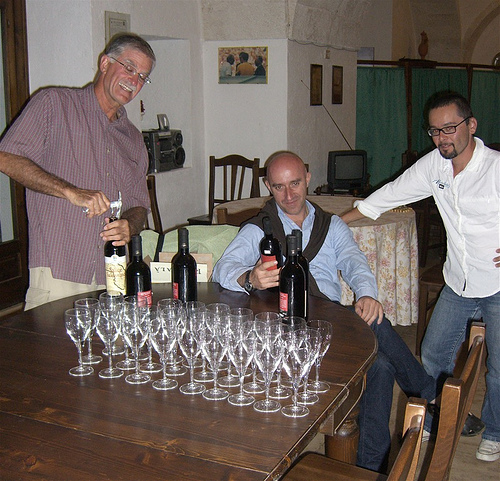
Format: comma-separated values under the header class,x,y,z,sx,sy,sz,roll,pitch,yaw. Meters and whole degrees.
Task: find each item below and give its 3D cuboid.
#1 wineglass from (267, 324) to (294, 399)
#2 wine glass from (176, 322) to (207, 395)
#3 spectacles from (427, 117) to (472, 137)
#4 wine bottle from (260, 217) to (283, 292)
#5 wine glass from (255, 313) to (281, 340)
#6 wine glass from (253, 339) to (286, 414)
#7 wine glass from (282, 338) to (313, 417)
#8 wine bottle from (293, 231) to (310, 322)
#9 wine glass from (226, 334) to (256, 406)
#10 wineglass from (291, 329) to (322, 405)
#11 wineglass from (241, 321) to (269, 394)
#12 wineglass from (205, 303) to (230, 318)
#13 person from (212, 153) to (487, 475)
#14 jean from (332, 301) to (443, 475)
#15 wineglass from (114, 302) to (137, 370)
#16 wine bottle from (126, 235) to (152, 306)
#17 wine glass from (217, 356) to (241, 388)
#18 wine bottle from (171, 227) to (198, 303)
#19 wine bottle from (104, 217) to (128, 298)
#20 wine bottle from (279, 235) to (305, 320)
class,x,y,z,sx,sy,sz,roll,pitch,yaw
wineglass,0.072,0.279,1.266,0.071,0.187,0.076,6,20,1
wine glass,-0.146,0.309,1.256,0.066,0.161,0.069,-2,15,-16
spectacles,0.912,-0.532,2.237,0.160,0.081,0.087,7,14,27
wine bottle,0.083,0.068,1.905,0.086,0.303,0.100,6,17,13
wine glass,0.049,0.227,1.279,0.047,0.063,0.051,1,10,14
wine glass,0.048,0.317,1.180,0.077,0.151,0.178,1,12,1
wine glass,0.112,0.342,1.199,0.065,0.187,0.072,4,17,29
wine bottle,0.177,0.158,1.700,0.068,0.354,0.084,-5,12,-10
wine glass,-0.015,0.323,1.227,0.070,0.181,0.076,-1,6,-4
wineglass,0.154,0.319,1.254,0.078,0.190,0.082,3,-4,33
wineglass,0.013,0.307,1.258,0.053,0.171,0.072,7,15,23
wineglass,-0.099,0.216,1.522,0.042,0.054,0.048,0,-2,24
person,0.421,0.203,2.266,0.792,1.895,0.920,0,14,1
jean,0.561,0.634,2.113,0.404,0.936,0.405,8,17,16
wineglass,-0.364,0.246,1.412,0.066,0.197,0.229,-3,13,-15
wine bottle,-0.399,0.125,1.720,0.074,0.298,0.080,-1,7,0
wine glass,-0.050,0.336,1.285,0.063,0.088,0.071,5,11,15
wine bottle,-0.230,0.097,1.775,0.084,0.287,0.097,-8,19,-25
wine bottle,-0.456,0.060,1.624,0.063,0.289,0.059,0,8,0
wine bottle,0.143,0.146,1.654,0.087,0.221,0.117,0,12,-4
